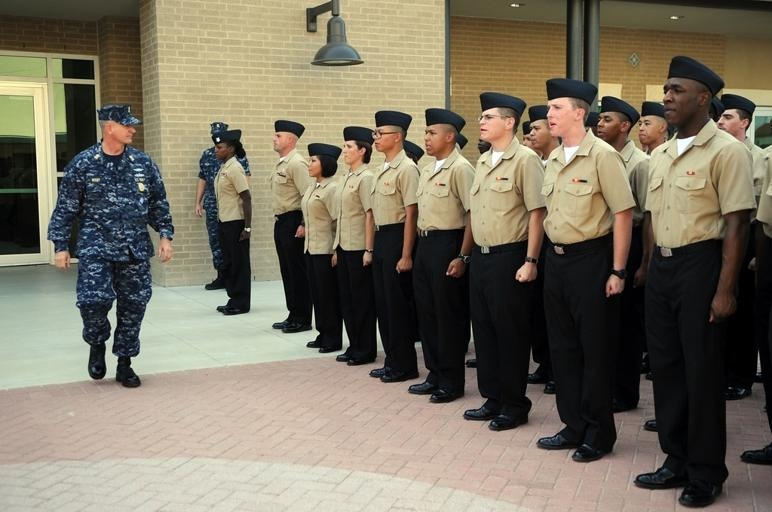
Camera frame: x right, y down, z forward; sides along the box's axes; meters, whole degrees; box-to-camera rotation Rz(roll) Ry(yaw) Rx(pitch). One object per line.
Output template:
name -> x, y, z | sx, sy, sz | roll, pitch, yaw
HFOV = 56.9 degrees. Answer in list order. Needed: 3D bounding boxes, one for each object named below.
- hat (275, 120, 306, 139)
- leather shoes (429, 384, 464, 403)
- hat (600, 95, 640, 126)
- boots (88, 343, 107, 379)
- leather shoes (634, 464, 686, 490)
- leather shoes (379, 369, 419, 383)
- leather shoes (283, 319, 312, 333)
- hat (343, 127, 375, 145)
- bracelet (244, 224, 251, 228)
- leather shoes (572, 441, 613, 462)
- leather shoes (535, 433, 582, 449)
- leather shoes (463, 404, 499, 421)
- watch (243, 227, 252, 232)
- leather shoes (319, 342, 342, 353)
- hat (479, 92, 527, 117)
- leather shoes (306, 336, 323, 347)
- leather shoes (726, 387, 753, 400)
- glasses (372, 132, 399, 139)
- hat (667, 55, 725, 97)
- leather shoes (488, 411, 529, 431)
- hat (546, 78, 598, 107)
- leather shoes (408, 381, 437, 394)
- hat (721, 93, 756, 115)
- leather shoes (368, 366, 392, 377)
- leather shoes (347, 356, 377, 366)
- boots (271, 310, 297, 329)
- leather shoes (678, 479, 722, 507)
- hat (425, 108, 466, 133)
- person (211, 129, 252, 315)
hat -> -1.116, -1.487, 8.239 | 0.335, 0.105, 0.291 | 8, -10, -1
leather shoes -> 0.514, 1.171, 6.086 | 0.295, 0.108, 0.110 | 2, -5, -24
hat -> 1.995, -1.249, 5.977 | 0.346, 0.130, 0.254 | 15, -2, -10
boots -> -2.586, 0.951, 6.438 | 0.142, 0.357, 0.240 | -3, -8, -33
leather shoes -> 1.775, 1.430, 4.645 | 0.314, 0.114, 0.138 | 1, -4, -3
leather shoes -> 0.123, 1.103, 6.621 | 0.318, 0.109, 0.118 | 3, -4, -16
leather shoes -> -1.037, 0.823, 8.416 | 0.345, 0.121, 0.120 | 5, -13, -27
hat -> -0.260, -1.176, 6.946 | 0.230, 0.074, 0.199 | 3, 0, 35
bracelet -> -1.749, -0.389, 9.063 | 0.073, 0.047, 0.070 | 3, 5, 26
leather shoes -> 1.446, 1.369, 4.987 | 0.287, 0.097, 0.097 | 3, -6, -22
leather shoes -> 1.230, 1.325, 5.090 | 0.265, 0.090, 0.117 | 2, -5, 3
leather shoes -> 0.758, 1.237, 5.680 | 0.265, 0.090, 0.117 | 1, -4, -6
watch -> -1.743, -0.337, 9.102 | 0.065, 0.039, 0.069 | -24, 12, -19
leather shoes -> -0.579, 0.976, 7.570 | 0.266, 0.095, 0.090 | 3, -3, -23
hat -> 0.928, -1.176, 5.530 | 0.304, 0.105, 0.215 | 0, 1, -16
leather shoes -> -0.750, 0.934, 7.722 | 0.249, 0.089, 0.077 | 2, -4, -1
leather shoes -> 2.989, 1.164, 6.069 | 0.280, 0.082, 0.187 | -1, 1, 5
glasses -> 0.025, -1.092, 6.493 | 0.134, 0.049, 0.098 | 0, 1, -13
hat -> 1.942, -1.136, 4.563 | 0.402, 0.154, 0.299 | 7, -5, -12
leather shoes -> 0.938, 1.266, 5.460 | 0.289, 0.094, 0.112 | 3, -9, -22
hat -> 1.301, -1.149, 4.993 | 0.292, 0.085, 0.221 | 6, 1, 13
leather shoes -> 0.327, 1.147, 6.269 | 0.246, 0.078, 0.097 | 2, -6, -7
hat -> 2.883, -1.236, 5.810 | 0.272, 0.116, 0.195 | 2, 5, 12
leather shoes -> -0.045, 1.082, 6.694 | 0.222, 0.076, 0.082 | 2, -4, 11
leather shoes -> -0.231, 1.033, 7.104 | 0.271, 0.093, 0.092 | 2, -1, -19
boots -> -1.238, 0.792, 8.533 | 0.361, 0.216, 0.148 | 2, -5, -8
leather shoes -> 1.991, 1.468, 4.462 | 0.310, 0.110, 0.107 | 1, -13, -30
hat -> 0.514, -1.152, 6.021 | 0.301, 0.104, 0.216 | 3, 0, -14
person -> -1.986, -0.429, 9.224 | 0.485, 2.359, 0.568 | -4, 9, -13
